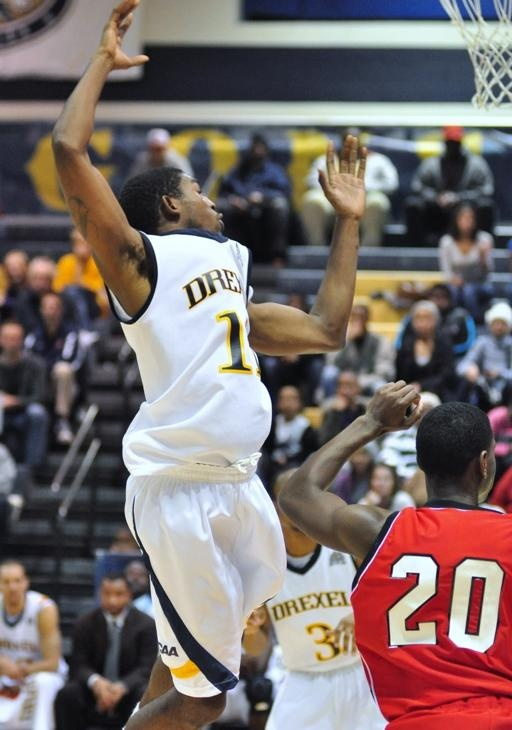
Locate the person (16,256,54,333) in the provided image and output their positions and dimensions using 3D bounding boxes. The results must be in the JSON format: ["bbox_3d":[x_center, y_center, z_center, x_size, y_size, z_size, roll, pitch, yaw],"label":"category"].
[{"bbox_3d":[-1.992,-0.628,10.216,0.226,0.655,0.387,1,-10,34],"label":"person"}]
